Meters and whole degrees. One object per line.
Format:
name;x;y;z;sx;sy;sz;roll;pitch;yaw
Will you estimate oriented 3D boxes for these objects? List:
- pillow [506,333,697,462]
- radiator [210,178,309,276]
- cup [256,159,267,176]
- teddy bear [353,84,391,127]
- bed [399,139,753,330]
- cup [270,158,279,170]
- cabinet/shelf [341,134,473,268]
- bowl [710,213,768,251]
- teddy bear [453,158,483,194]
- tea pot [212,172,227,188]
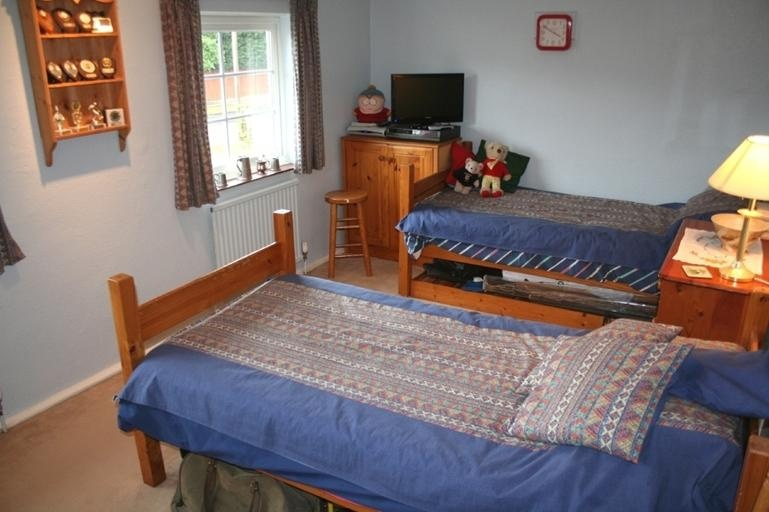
pillow;1.017;0.633;2.613;0.626;0.383;0.589;14;28;31
radiator;-1.058;-0.262;4.489;0.082;0.659;0.776;12;25;33
cup;-1.106;-0.804;4.968;0.091;0.113;0.113;13;28;18
teddy bear;-0.119;-1.589;5.741;0.437;0.375;0.250;3;18;10
bed;1.264;0.047;4.264;2.123;1.184;1.383;11;32;21
cup;-1.005;-0.859;5.109;0.101;0.106;0.096;-1;26;1
cabinet/shelf;0.252;-0.576;5.227;1.121;1.274;0.538;9;17;26
bowl;2.151;-0.175;3.296;0.245;0.194;0.304;5;14;34
teddy bear;0.813;-0.769;5.278;0.270;0.343;0.188;22;26;-1
tea pot;-1.365;-0.631;4.592;0.100;0.120;0.150;-8;24;-15
